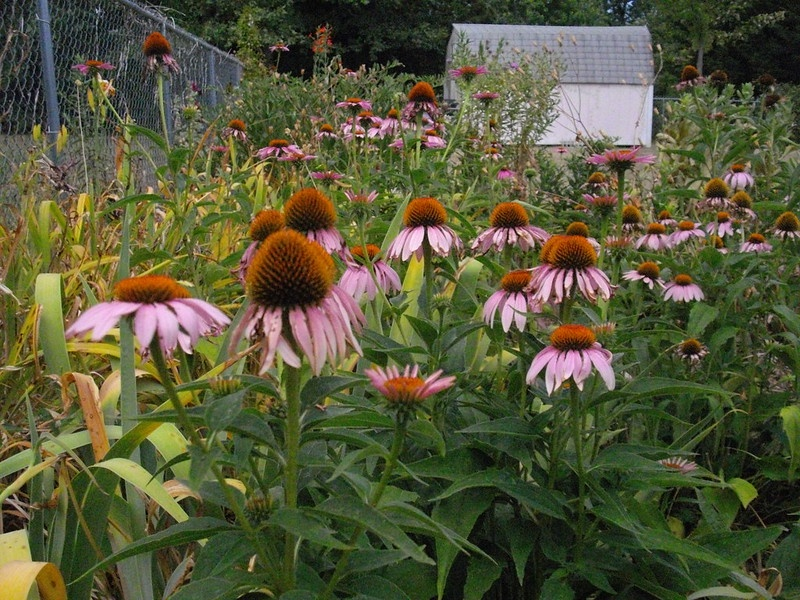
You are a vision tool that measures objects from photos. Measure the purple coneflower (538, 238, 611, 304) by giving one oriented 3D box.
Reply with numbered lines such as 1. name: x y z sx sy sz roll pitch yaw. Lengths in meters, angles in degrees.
1. purple coneflower: 0.637 -0.098 2.809 0.287 0.272 0.253 10 11 17

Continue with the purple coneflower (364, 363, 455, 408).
1. purple coneflower: 0.013 0.274 2.258 0.245 0.097 0.248 7 5 43

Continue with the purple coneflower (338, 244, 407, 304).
1. purple coneflower: -0.147 -0.130 3.350 0.255 0.250 0.270 -7 9 -16

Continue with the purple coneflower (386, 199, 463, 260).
1. purple coneflower: 0.101 -0.318 3.261 0.302 0.245 0.347 -4 6 15

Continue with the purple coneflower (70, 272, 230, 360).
1. purple coneflower: -0.709 0.064 2.150 0.416 0.266 0.281 2 11 -25

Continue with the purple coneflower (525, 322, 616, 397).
1. purple coneflower: 0.593 0.203 2.649 0.314 0.239 0.370 -2 5 -2

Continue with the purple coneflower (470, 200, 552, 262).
1. purple coneflower: 0.475 -0.326 3.362 0.357 0.219 0.350 0 0 -32

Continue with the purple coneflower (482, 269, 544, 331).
1. purple coneflower: 0.415 -0.001 2.887 0.195 0.204 0.207 11 11 21

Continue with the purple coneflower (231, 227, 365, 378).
1. purple coneflower: -0.300 -0.040 2.293 0.334 0.451 0.407 2 19 -7
